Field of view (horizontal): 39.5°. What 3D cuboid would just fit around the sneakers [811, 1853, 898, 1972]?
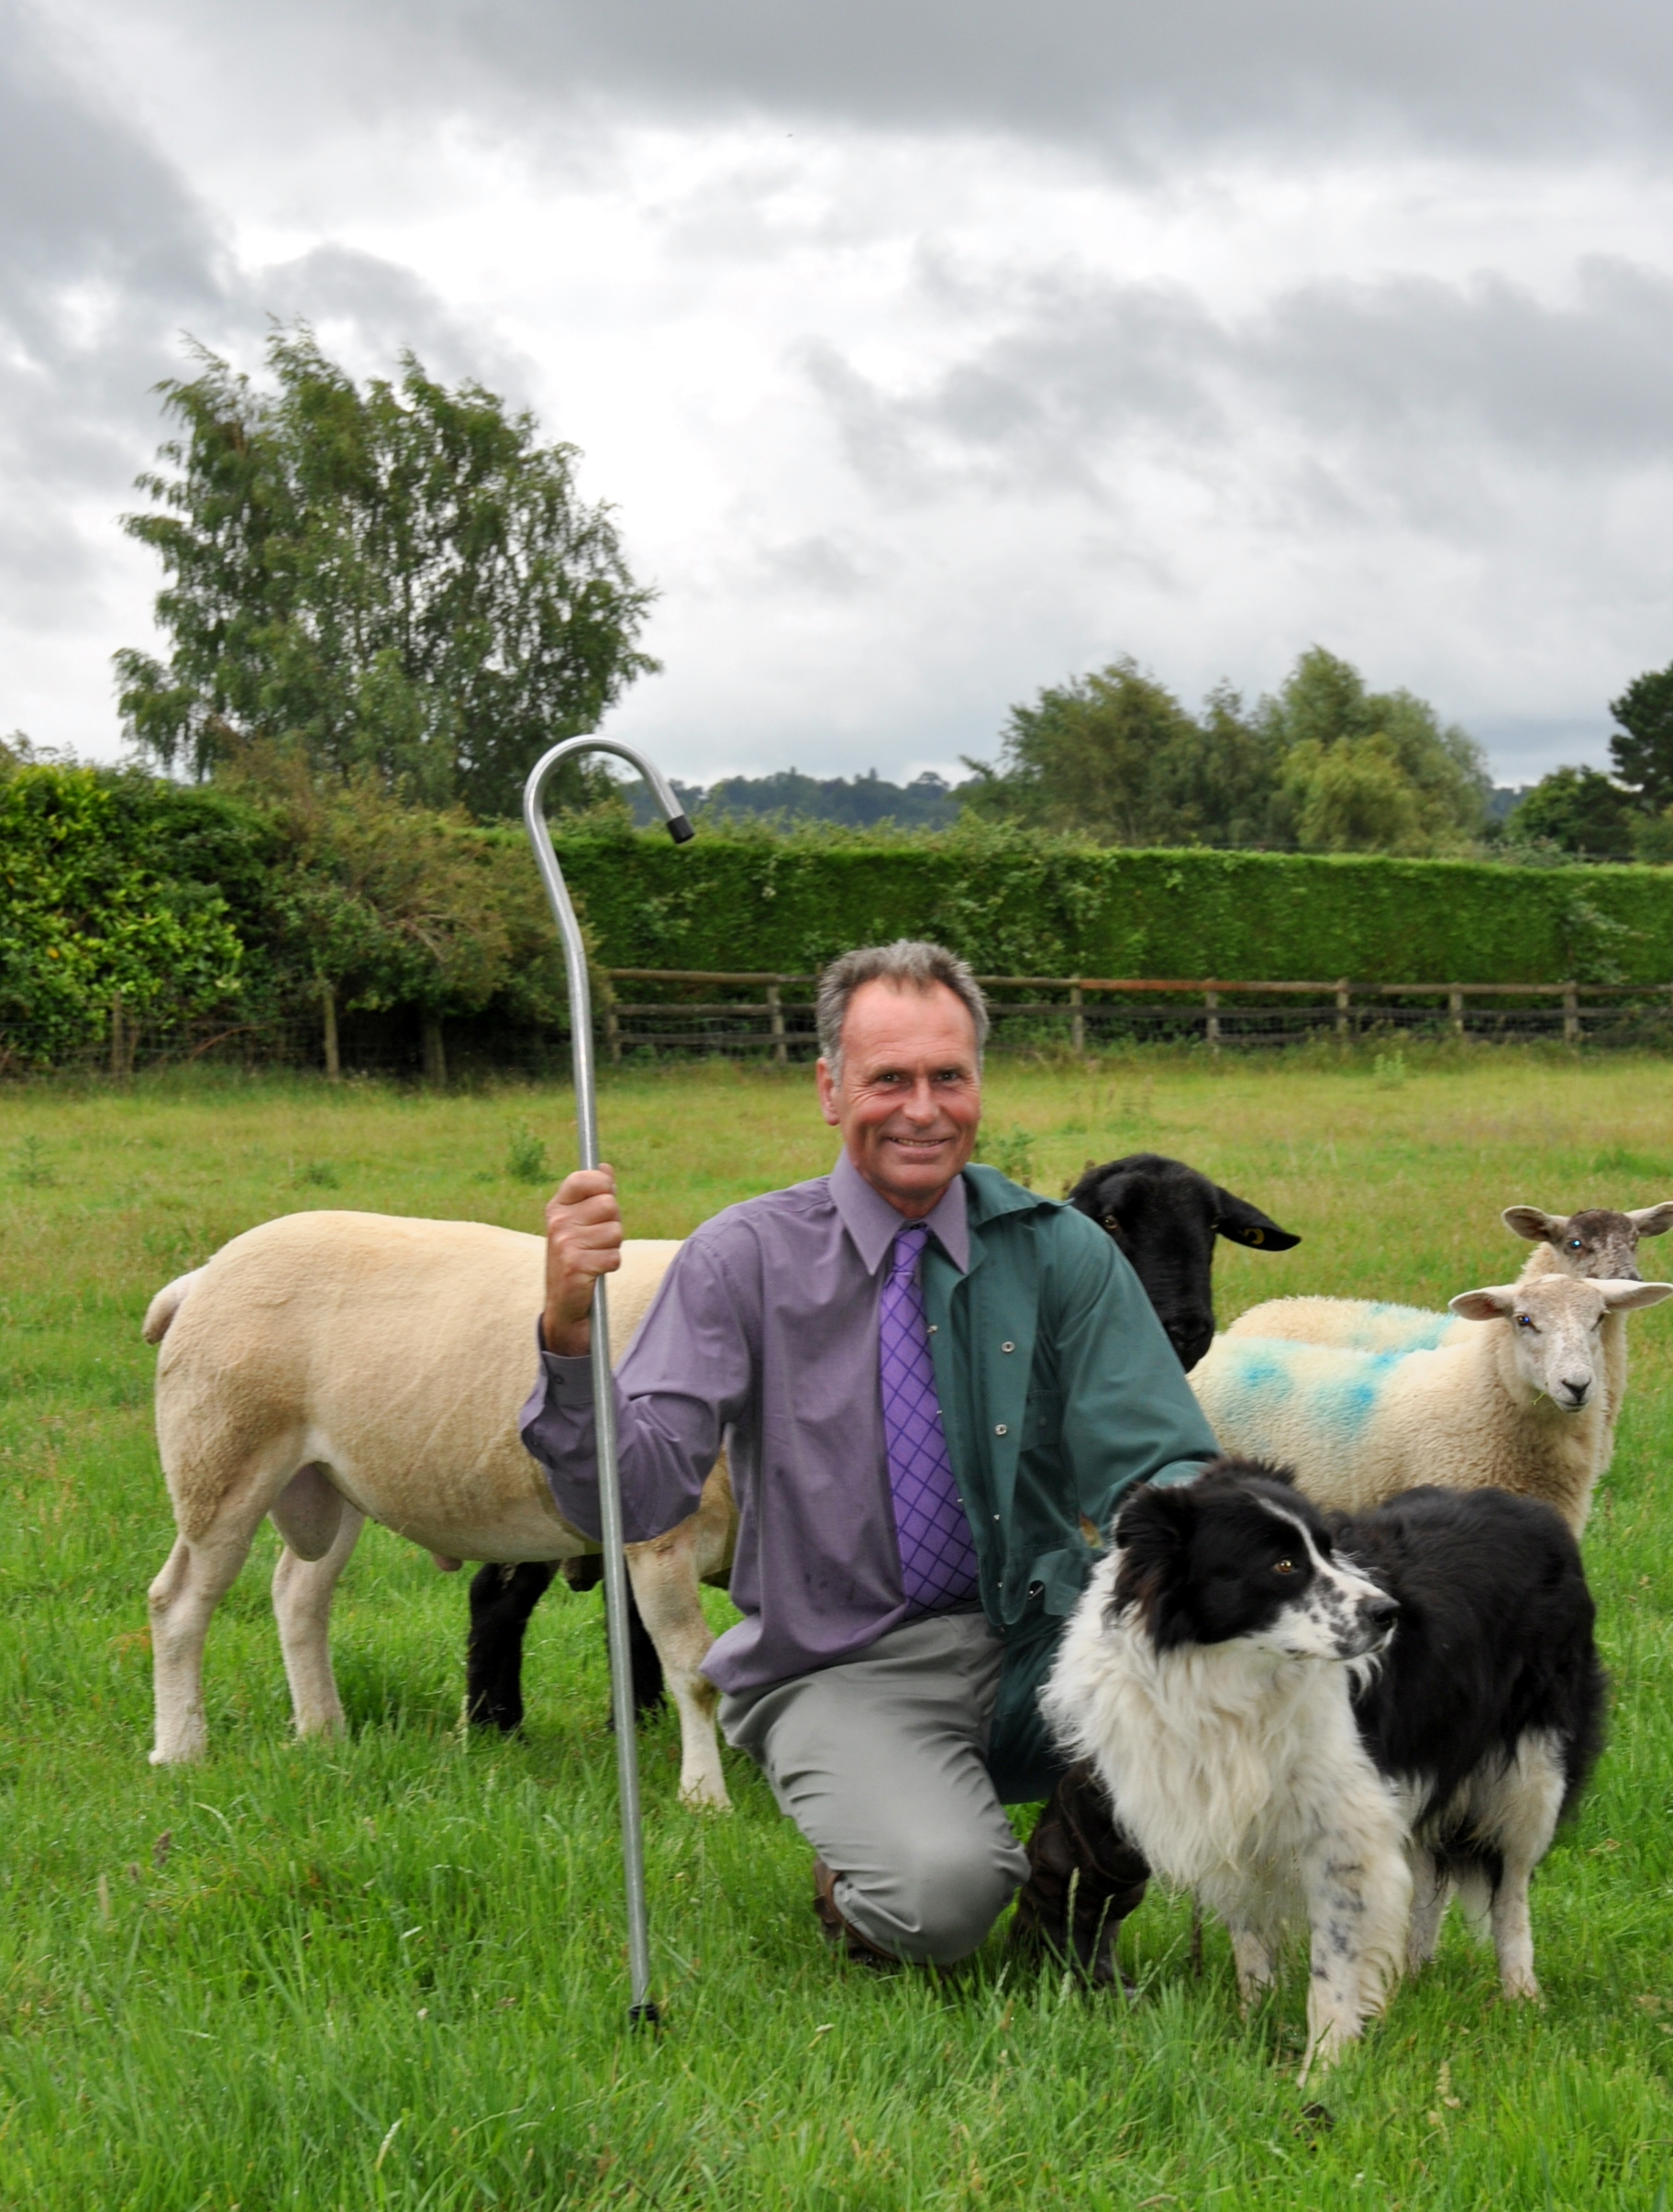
[{"bbox_3d":[0.008,1.550,4.458,0.102,0.139,0.271,-2,2,-25],"label":"sneakers"}]

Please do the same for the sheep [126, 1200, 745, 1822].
[{"bbox_3d":[-0.761,0.997,6.247,2.371,1.458,0.695,-1,-2,22],"label":"sheep"}]

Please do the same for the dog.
[{"bbox_3d":[0.889,1.221,4.485,0.727,1.205,1.260,0,2,32],"label":"dog"}]
